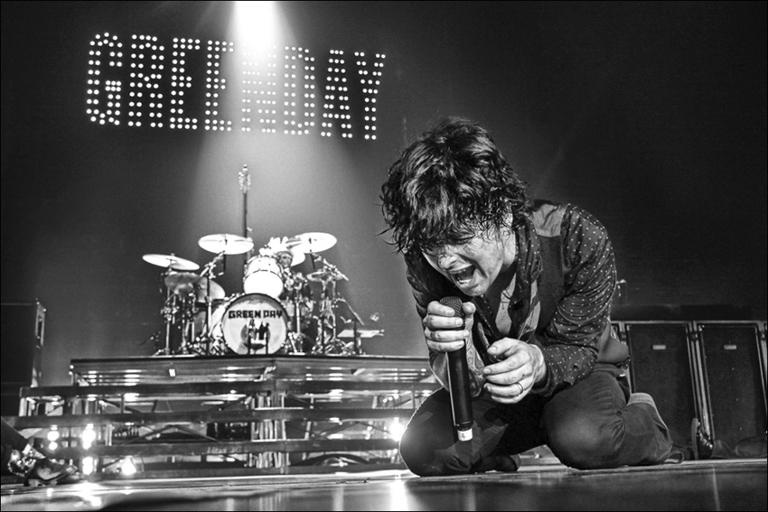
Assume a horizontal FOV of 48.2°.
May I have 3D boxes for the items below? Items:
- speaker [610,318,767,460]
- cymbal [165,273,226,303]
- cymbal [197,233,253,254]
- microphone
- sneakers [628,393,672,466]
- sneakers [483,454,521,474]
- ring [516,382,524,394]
[{"bbox_3d":[2.555,0.998,6.648,1.067,1.108,0.292,0,-9,1],"label":"speaker"},{"bbox_3d":[-1.674,0.269,7.519,0.332,0.087,0.341,16,-35,-1],"label":"cymbal"},{"bbox_3d":[-1.417,-0.101,7.794,0.461,0.202,0.347,-2,-6,6],"label":"cymbal"},{"bbox_3d":[0.378,0.572,4.343,0.127,0.722,0.233,-3,-6,20],"label":"microphone"},{"bbox_3d":[1.480,0.930,4.635,0.140,0.369,0.269,-26,-22,22],"label":"sneakers"},{"bbox_3d":[0.656,1.150,4.781,0.141,0.062,0.110,-1,-11,-12],"label":"sneakers"},{"bbox_3d":[0.692,0.667,4.354,0.043,0.060,0.006,1,-6,-21],"label":"ring"}]
